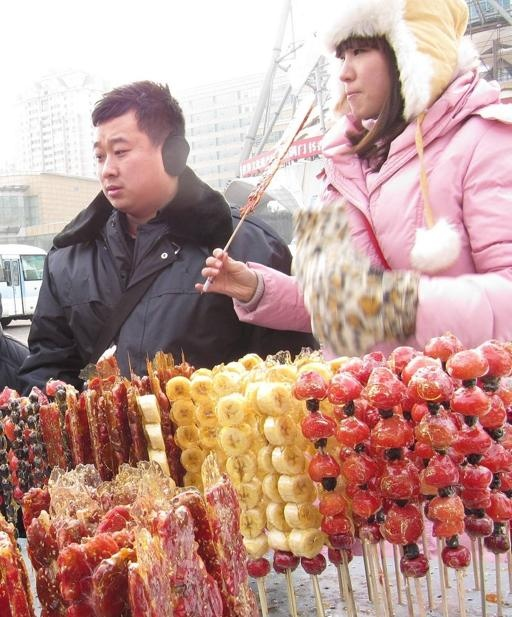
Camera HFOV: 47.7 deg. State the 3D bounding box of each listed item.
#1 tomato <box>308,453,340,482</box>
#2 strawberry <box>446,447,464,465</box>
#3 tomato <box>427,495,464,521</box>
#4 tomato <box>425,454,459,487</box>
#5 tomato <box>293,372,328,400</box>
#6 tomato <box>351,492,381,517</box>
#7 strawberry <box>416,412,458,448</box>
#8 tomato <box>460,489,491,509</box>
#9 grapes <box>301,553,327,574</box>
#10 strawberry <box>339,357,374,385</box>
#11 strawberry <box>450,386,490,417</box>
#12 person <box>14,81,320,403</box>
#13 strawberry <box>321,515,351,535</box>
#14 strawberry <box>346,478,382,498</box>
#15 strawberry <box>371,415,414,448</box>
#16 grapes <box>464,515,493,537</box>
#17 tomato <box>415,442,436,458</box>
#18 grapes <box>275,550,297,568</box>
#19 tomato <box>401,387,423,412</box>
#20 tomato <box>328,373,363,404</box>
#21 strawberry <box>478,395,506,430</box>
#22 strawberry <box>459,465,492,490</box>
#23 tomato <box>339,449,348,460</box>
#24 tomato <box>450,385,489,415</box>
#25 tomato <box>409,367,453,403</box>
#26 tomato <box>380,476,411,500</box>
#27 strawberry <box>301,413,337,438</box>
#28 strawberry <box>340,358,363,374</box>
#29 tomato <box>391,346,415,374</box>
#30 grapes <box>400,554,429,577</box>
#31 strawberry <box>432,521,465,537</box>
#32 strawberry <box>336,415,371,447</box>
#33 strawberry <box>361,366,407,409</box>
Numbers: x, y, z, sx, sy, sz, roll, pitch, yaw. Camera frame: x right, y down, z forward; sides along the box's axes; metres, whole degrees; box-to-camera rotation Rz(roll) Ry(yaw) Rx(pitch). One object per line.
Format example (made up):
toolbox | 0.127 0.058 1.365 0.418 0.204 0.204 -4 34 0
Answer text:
tomato | 0.109 0.281 1.071 0.055 0.049 0.076 2 31 -5
strawberry | 0.333 0.245 0.965 0.028 0.018 0.024 20 -1 -24
tomato | 0.305 0.318 0.944 0.036 0.038 0.049 6 -1 -24
tomato | 0.298 0.262 0.933 0.048 0.054 0.027 -2 0 6
tomato | 0.097 0.136 1.023 0.051 0.050 0.029 -5 -29 6
tomato | 0.190 0.337 1.004 0.046 0.044 0.045 3 -42 -8
strawberry | 0.285 0.189 0.930 0.054 0.052 0.056 10 -7 -19
tomato | 0.366 0.316 0.966 0.038 0.031 0.038 -16 -22 22
grapes | 0.108 0.470 1.069 0.039 0.037 0.040 -3 -5 0
strawberry | 0.187 0.108 1.050 0.047 0.034 0.054 -34 7 -15
strawberry | 0.336 0.145 0.910 0.053 0.050 0.052 5 41 1
person | -0.387 -0.243 2.676 0.874 1.524 0.741 1 2 17
strawberry | 0.145 0.392 1.050 0.053 0.034 0.034 -7 -2 5
strawberry | 0.194 0.319 1.051 0.069 0.027 0.030 1 -4 -35
strawberry | 0.223 0.202 0.943 0.056 0.043 0.057 2 -19 -7
grapes | 0.372 0.363 0.968 0.040 0.037 0.037 -5 32 24
tomato | 0.283 0.238 0.973 0.033 0.029 0.032 -3 3 -17
grapes | 0.055 0.470 1.087 0.033 0.021 0.034 6 -2 8
tomato | 0.262 0.148 0.974 0.037 0.045 0.026 6 -7 2
tomato | 0.148 0.134 0.976 0.052 0.048 0.028 0 -9 34
strawberry | 0.388 0.176 0.972 0.044 0.058 0.046 1 -23 7
strawberry | 0.364 0.278 0.957 0.041 0.042 0.042 1 16 43
tomato | 0.160 0.265 1.054 0.011 0.020 0.020 14 13 6
tomato | 0.336 0.144 0.909 0.051 0.050 0.049 -2 8 17
tomato | 0.269 0.117 0.891 0.055 0.056 0.032 -12 -19 0
tomato | 0.231 0.294 0.949 0.049 0.042 0.023 -9 -3 34
strawberry | 0.112 0.209 1.027 0.049 0.044 0.046 -19 -33 -3
strawberry | 0.170 0.104 1.075 0.026 0.018 0.033 -8 -3 17
tomato | 0.258 0.088 1.023 0.046 0.049 0.042 -3 5 28
grapes | 0.270 0.434 0.978 0.041 0.040 0.040 -6 0 5
strawberry | 0.319 0.359 0.934 0.040 0.027 0.039 -3 -24 12
strawberry | 0.165 0.210 0.984 0.054 0.057 0.053 0 8 20
strawberry | 0.204 0.126 0.923 0.059 0.066 0.043 1 0 -28
